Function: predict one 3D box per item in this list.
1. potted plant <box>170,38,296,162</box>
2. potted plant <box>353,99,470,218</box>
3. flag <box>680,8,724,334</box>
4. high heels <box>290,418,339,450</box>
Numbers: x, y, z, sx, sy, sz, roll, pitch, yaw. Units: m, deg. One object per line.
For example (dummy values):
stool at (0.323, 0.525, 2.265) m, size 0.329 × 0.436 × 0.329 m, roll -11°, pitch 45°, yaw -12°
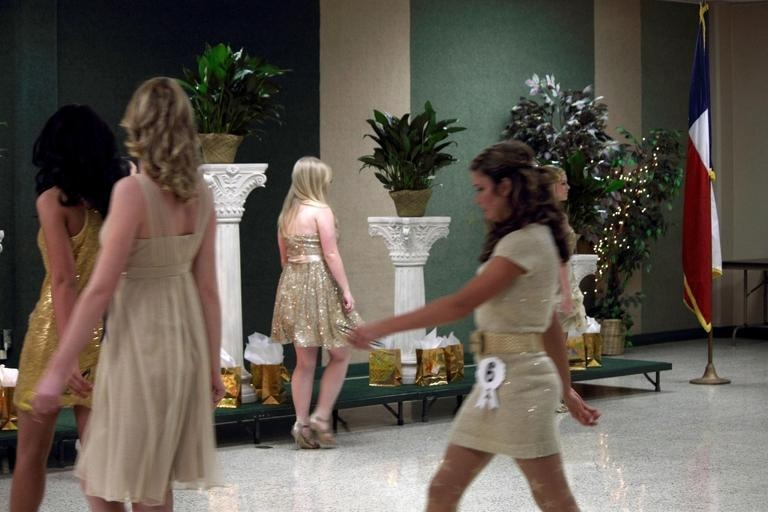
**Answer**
potted plant at (-1.262, -1.127, 5.651) m, size 0.862 × 0.886 × 0.908 m, roll 20°, pitch 17°, yaw 40°
potted plant at (0.205, -0.723, 6.368) m, size 0.871 × 0.799 × 0.926 m, roll -1°, pitch -3°, yaw 1°
flag at (3.145, -0.862, 7.402) m, size 0.324 × 3.271 × 0.408 m, roll 0°, pitch 2°, yaw 22°
high heels at (-0.501, 1.275, 5.345) m, size 0.332 × 0.139 × 0.183 m, roll 3°, pitch -3°, yaw -42°
